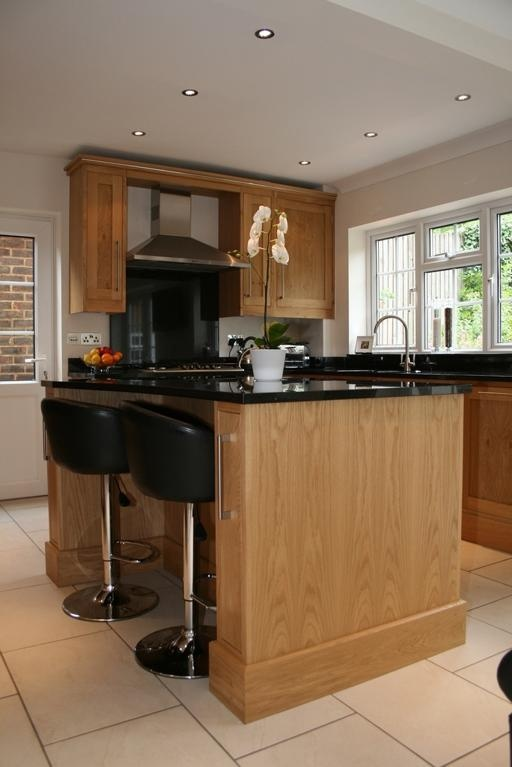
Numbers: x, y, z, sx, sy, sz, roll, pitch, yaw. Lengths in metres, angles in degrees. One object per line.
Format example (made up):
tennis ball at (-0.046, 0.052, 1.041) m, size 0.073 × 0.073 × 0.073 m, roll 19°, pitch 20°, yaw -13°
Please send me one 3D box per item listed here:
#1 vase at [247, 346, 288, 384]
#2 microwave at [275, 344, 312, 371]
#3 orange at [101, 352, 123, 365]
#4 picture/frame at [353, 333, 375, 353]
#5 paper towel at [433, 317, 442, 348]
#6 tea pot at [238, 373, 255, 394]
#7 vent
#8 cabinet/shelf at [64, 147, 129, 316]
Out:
vase at (0.039, -0.065, 2.057) m, size 0.113 × 0.095 × 0.107 m, roll 1°, pitch -1°, yaw 22°
microwave at (0.366, -0.232, 5.366) m, size 0.329 × 0.245 × 0.251 m, roll 0°, pitch -2°, yaw -36°
orange at (-0.885, -0.155, 3.681) m, size 0.118 × 0.050 × 0.122 m, roll 1°, pitch -1°, yaw 0°
picture/frame at (0.902, -0.327, 5.050) m, size 0.086 × 0.143 × 0.207 m, roll 0°, pitch 0°, yaw -29°
paper towel at (1.369, -0.377, 4.588) m, size 0.063 × 0.243 × 0.052 m, roll 0°, pitch 0°, yaw 6°
tea pot at (-0.035, 0.000, 2.005) m, size 0.044 × 0.078 × 0.076 m, roll 0°, pitch -1°, yaw -3°
vent at (-0.597, -1.221, 4.748) m, size 0.971 × 0.643 × 0.524 m, roll -4°, pitch 4°, yaw -37°
cabinet/shelf at (-1.182, -1.059, 4.402) m, size 0.456 × 1.075 × 0.367 m, roll 0°, pitch 0°, yaw -4°
